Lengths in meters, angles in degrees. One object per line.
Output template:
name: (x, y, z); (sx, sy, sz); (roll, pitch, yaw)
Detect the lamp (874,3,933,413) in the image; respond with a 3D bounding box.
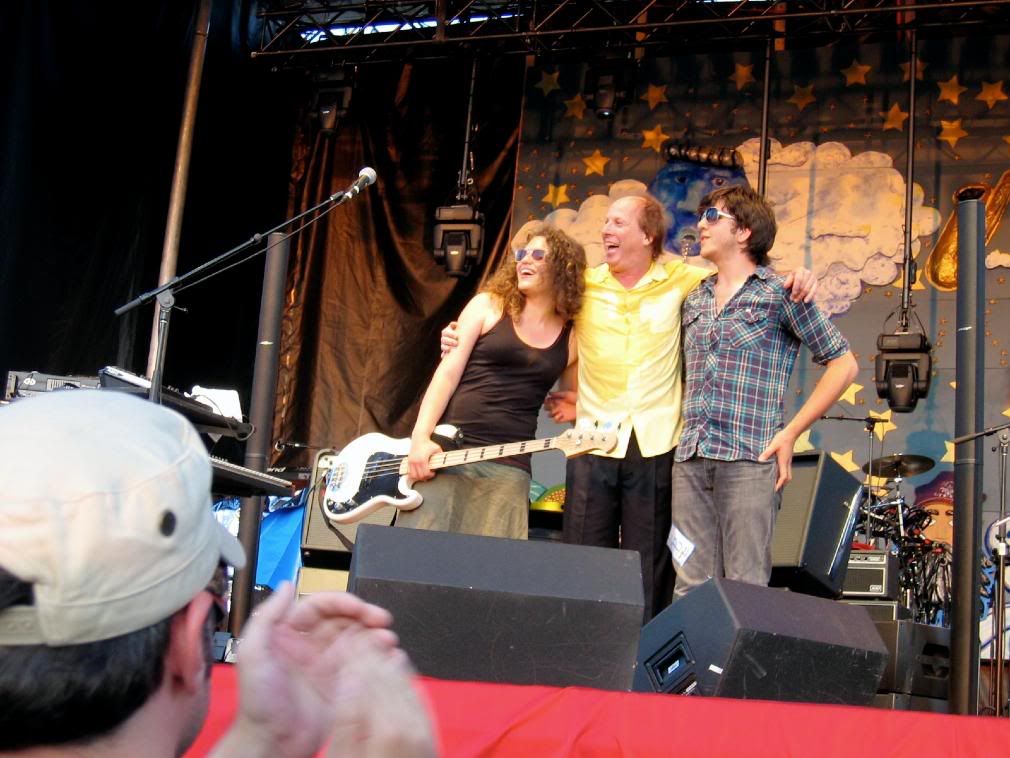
lamp: (2.840, -1.179, 7.541); (0.341, 2.405, 1.121); (5, -1, 21)

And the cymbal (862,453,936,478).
cymbal: (2.681, 0.592, 7.449); (0.458, 0.165, 0.449); (5, -1, 20)

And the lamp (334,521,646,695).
lamp: (-0.011, 0.614, 2.898); (0.720, 0.390, 0.396); (5, -13, 1)

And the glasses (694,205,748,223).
glasses: (0.775, -0.588, 3.913); (0.092, 0.033, 0.092); (14, -2, -9)

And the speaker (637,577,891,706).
speaker: (0.660, 0.727, 3.004); (0.546, 0.287, 0.391); (16, -16, -37)

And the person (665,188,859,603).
person: (0.844, 0.037, 3.830); (0.554, 1.347, 0.477); (4, -1, 42)

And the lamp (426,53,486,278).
lamp: (-0.311, -1.654, 7.825); (0.348, 1.895, 0.251); (3, 25, -4)
